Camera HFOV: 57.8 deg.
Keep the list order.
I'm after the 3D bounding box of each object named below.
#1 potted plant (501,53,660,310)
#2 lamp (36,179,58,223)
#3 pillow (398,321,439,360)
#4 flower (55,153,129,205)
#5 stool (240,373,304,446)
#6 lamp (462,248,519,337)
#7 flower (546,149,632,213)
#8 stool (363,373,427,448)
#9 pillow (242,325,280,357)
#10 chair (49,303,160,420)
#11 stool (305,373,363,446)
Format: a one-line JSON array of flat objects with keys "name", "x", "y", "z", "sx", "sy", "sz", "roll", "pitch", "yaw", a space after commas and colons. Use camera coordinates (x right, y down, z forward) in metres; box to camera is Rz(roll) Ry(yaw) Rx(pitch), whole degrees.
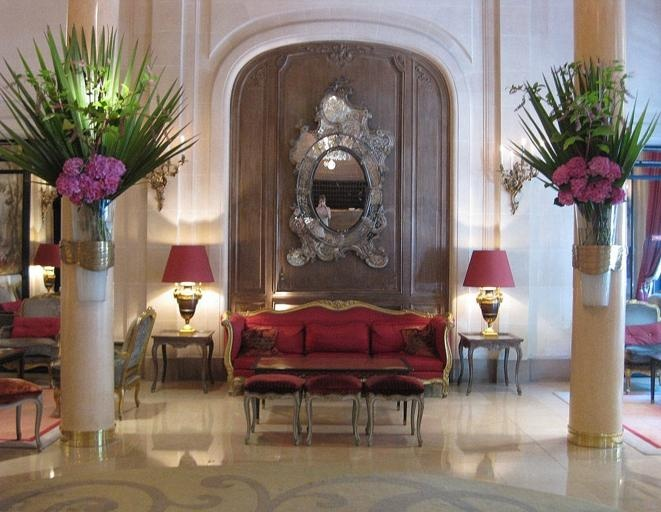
[{"name": "potted plant", "x": 2.423, "y": -0.709, "z": 5.654, "sx": 0.977, "sy": 2.417, "sz": 0.689, "roll": 0, "pitch": 3, "yaw": 3}, {"name": "lamp", "x": -4.772, "y": -0.901, "z": 10.002, "sx": 0.139, "sy": 0.719, "sz": 0.413, "roll": 7, "pitch": 15, "yaw": 27}, {"name": "pillow", "x": 1.111, "y": 1.087, "z": 7.605, "sx": 0.327, "sy": 0.414, "sz": 0.115, "roll": -6, "pitch": -28, "yaw": 15}, {"name": "flower", "x": -2.164, "y": -0.693, "z": 5.411, "sx": 0.388, "sy": 0.447, "sz": 0.535, "roll": -5, "pitch": 0, "yaw": -13}, {"name": "stool", "x": -0.582, "y": 1.499, "z": 6.089, "sx": 0.572, "sy": 0.620, "sz": 0.585, "roll": 1, "pitch": -1, "yaw": -3}, {"name": "lamp", "x": 2.091, "y": 0.495, "z": 7.855, "sx": 0.563, "sy": 1.126, "sz": 0.621, "roll": -1, "pitch": -1, "yaw": 0}, {"name": "flower", "x": 2.501, "y": -0.661, "z": 5.761, "sx": 0.602, "sy": 0.662, "sz": 0.653, "roll": -3, "pitch": -5, "yaw": 4}, {"name": "stool", "x": 0.629, "y": 1.565, "z": 6.121, "sx": 0.528, "sy": 0.592, "sz": 0.595, "roll": 1, "pitch": -4, "yaw": -1}, {"name": "pillow", "x": -0.914, "y": 1.080, "z": 7.580, "sx": 0.307, "sy": 0.352, "sz": 0.104, "roll": 1, "pitch": -27, "yaw": 0}, {"name": "chair", "x": -2.596, "y": 1.118, "z": 6.842, "sx": 1.050, "sy": 1.682, "sz": 1.107, "roll": 1, "pitch": -6, "yaw": 2}, {"name": "stool", "x": 0.016, "y": 1.533, "z": 6.027, "sx": 0.528, "sy": 0.612, "sz": 0.579, "roll": 0, "pitch": -6, "yaw": 2}]
